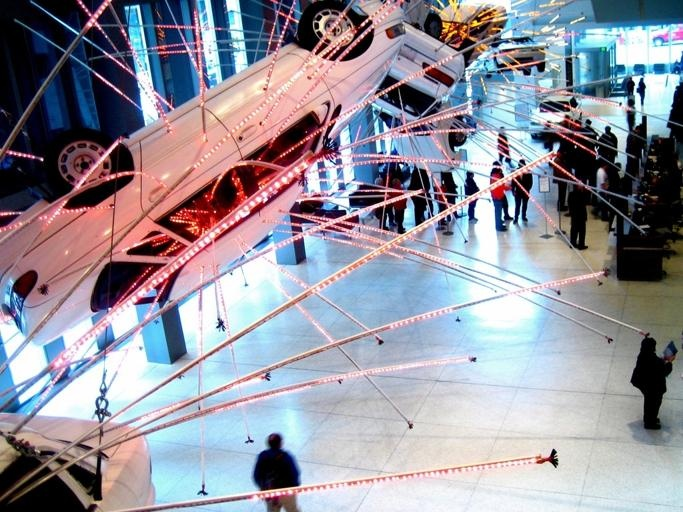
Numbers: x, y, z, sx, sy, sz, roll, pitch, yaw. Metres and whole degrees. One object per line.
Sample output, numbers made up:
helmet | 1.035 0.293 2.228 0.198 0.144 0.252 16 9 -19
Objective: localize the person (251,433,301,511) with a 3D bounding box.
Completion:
person | -0.815 2.927 7.153 0.582 1.229 0.713 -4 16 -8

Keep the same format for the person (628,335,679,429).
person | 4.751 1.888 8.689 0.528 1.403 0.655 7 18 29

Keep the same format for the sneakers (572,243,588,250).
sneakers | 6.276 -0.255 14.862 0.346 0.130 0.298 4 17 20
